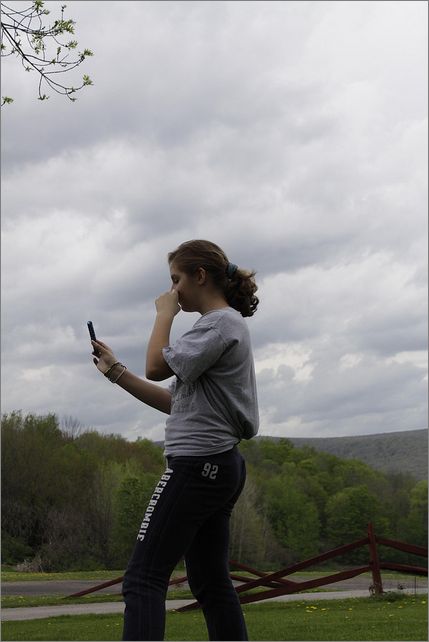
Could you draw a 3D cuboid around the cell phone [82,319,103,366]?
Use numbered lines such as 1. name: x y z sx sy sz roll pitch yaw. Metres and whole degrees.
1. cell phone: -0.480 0.110 2.365 0.047 0.216 0.039 -28 -14 33
